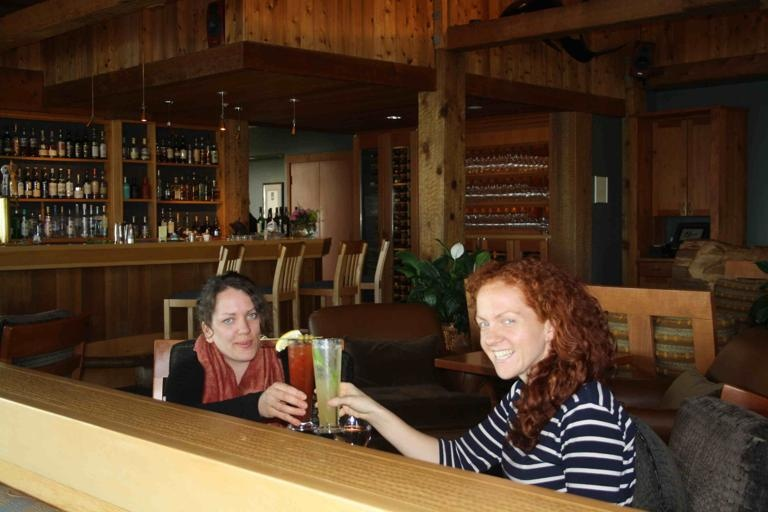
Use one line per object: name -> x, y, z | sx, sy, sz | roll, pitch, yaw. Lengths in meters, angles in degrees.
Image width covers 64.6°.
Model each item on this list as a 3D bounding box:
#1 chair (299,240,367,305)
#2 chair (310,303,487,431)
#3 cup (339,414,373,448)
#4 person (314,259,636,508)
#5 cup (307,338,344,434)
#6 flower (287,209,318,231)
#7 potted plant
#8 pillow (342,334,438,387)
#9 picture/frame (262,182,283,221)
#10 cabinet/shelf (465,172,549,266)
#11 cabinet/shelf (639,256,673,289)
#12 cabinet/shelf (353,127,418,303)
chair -> -0.677, 0.267, 6.836 | 0.655, 0.939, 0.591 | 2, 10, 15
chair -> 0.034, 0.562, 3.274 | 0.631, 0.807, 0.725 | 0, -16, -12
cup -> -0.074, 0.426, 1.481 | 0.076, 0.056, 0.200 | 6, -2, -3
person -> 0.195, 0.306, 1.716 | 0.593, 0.914, 0.704 | 4, -10, -26
cup -> -0.137, 0.303, 1.452 | 0.089, 0.196, 0.078 | 5, -2, 30
flower -> -1.034, -0.459, 7.787 | 0.346, 0.248, 0.342 | 1, 0, -10
potted plant -> 0.550, 0.293, 4.864 | 0.825, 0.766, 0.722 | 3, -7, -37
pillow -> 0.055, 0.523, 3.435 | 0.470, 0.150, 0.510 | 4, 29, 7
picture/frame -> -2.122, -1.007, 11.593 | 0.383, 0.697, 0.070 | -1, -8, -14
cabinet/shelf -> 1.532, -0.478, 7.487 | 1.157, 1.154, 0.402 | 0, -2, 22
cabinet/shelf -> 3.423, 0.202, 7.607 | 0.249, 0.387, 0.379 | 2, -1, -44
cabinet/shelf -> 0.106, -0.449, 9.373 | 1.023, 2.708, 0.710 | 1, 1, 25
